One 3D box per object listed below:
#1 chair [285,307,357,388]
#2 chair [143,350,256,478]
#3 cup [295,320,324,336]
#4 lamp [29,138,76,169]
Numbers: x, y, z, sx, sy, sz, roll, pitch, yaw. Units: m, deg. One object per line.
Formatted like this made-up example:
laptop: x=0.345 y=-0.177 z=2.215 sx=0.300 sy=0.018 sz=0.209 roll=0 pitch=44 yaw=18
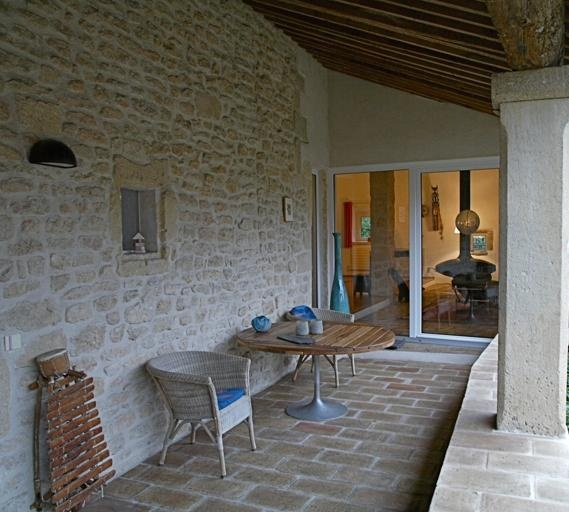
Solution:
chair: x=0.537 y=0.963 z=4.896 sx=0.786 sy=0.880 sz=0.794 roll=-4 pitch=-6 yaw=32
chair: x=-0.638 y=1.051 z=3.164 sx=0.682 sy=0.602 sz=0.714 roll=0 pitch=-2 yaw=16
cup: x=0.225 y=0.631 z=3.902 sx=0.223 sy=0.090 sz=0.113 roll=-1 pitch=-1 yaw=-4
lamp: x=-1.261 y=-0.573 z=2.486 sx=0.162 sy=0.143 sz=0.292 roll=-1 pitch=3 yaw=25
